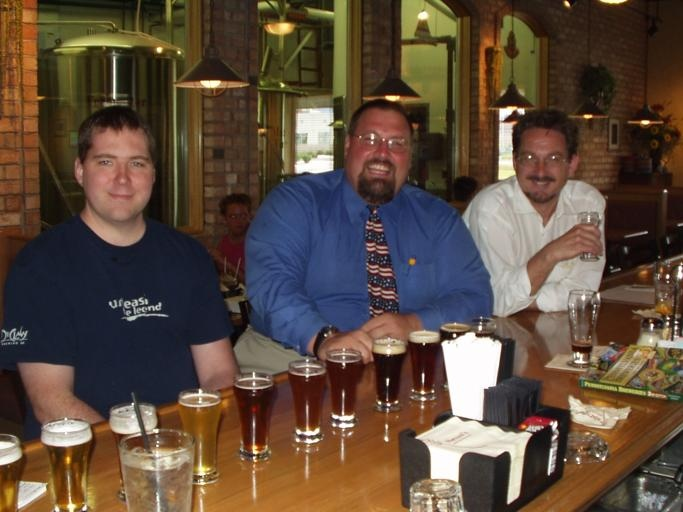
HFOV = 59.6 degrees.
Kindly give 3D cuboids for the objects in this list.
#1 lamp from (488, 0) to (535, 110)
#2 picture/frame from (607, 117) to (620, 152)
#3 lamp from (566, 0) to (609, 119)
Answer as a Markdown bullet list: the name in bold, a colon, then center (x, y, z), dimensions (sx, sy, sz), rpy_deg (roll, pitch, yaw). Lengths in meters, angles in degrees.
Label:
- **lamp**: center (2.258, -2.698, 7.875), dimensions (0.499, 1.686, 2.194), rpy_deg (0, 7, 17)
- **picture/frame**: center (4.805, -2.159, 10.574), dimensions (0.076, 0.780, 0.600), rpy_deg (1, 6, 36)
- **lamp**: center (3.718, -3.061, 9.042), dimensions (0.534, 2.065, 2.407), rpy_deg (1, 7, 24)
